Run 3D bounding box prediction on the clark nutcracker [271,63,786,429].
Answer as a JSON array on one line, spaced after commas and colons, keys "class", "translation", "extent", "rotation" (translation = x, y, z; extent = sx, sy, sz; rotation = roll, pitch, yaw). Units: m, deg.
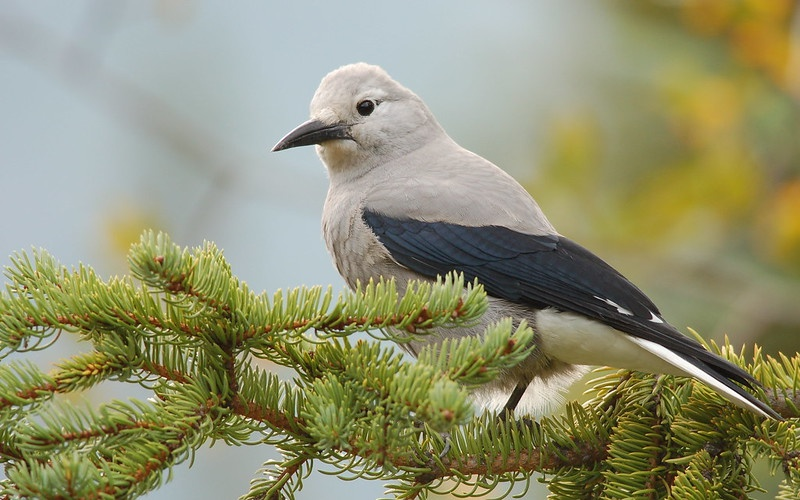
[{"class": "clark nutcracker", "translation": [1.261, -0.122, 6.686], "extent": [4.417, 2.618, 1.496], "rotation": [5, -8, 7]}]
